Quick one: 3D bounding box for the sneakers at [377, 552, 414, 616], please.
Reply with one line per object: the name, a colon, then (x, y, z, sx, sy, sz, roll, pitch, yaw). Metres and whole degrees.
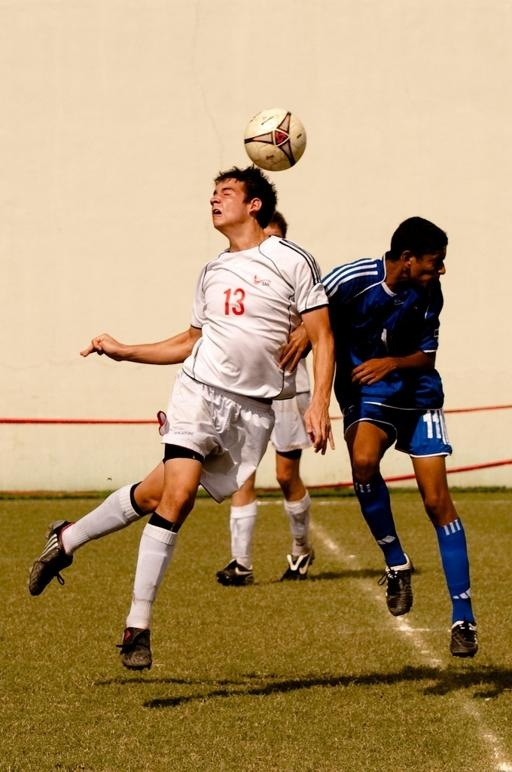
sneakers: (0.523, 0.753, 3.697, 0.132, 0.252, 0.121, -9, -25, 29)

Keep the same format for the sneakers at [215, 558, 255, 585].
sneakers: (-0.102, 0.903, 4.754, 0.081, 0.097, 0.219, 1, -1, 19)

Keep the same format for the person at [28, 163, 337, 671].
person: (-0.243, 0.044, 3.467, 0.822, 1.714, 1.031, 0, 1, -26)

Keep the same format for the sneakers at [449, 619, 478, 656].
sneakers: (0.690, 0.851, 3.263, 0.081, 0.119, 0.130, 1, 1, 11)

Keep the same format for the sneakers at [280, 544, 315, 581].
sneakers: (0.191, 0.895, 4.957, 0.084, 0.127, 0.242, 6, 10, 20)

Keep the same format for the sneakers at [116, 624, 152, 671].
sneakers: (-0.364, 0.795, 2.923, 0.092, 0.142, 0.149, 0, 1, -10)

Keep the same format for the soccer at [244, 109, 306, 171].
soccer: (0.082, -1.081, 4.269, 0.254, 0.308, 0.231, 1, 1, -2)
